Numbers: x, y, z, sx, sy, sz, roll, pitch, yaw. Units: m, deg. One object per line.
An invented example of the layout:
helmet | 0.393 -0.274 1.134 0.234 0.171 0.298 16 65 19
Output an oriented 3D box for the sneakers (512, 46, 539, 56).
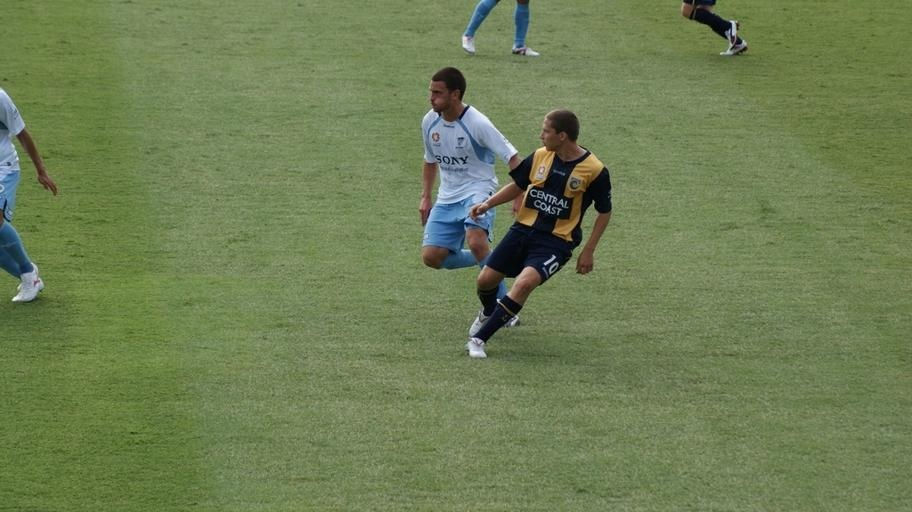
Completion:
sneakers | 1.033 -2.979 20.517 0.416 0.135 0.137 1 12 8
